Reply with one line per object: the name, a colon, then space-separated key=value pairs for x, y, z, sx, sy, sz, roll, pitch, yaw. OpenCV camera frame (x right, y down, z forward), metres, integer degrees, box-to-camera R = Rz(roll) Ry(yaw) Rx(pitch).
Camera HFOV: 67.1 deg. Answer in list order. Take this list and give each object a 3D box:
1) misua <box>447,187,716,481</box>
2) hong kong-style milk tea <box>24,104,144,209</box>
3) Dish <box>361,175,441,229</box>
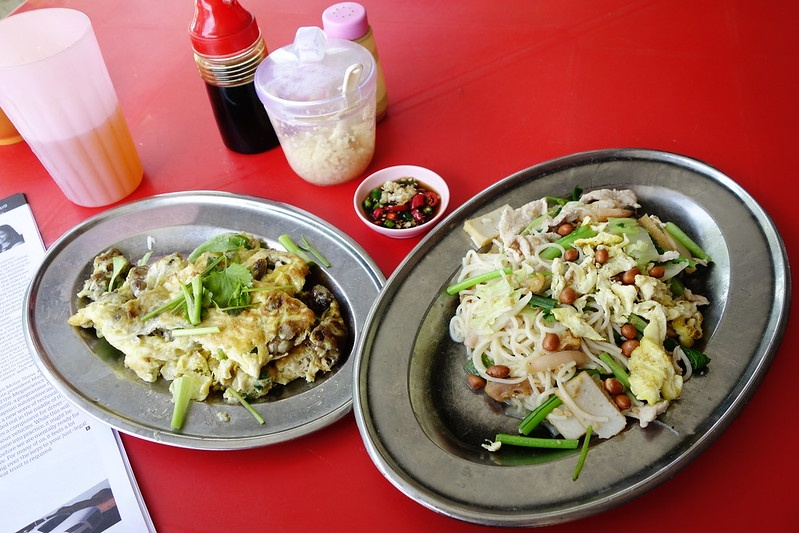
misua: x=0.833 y=0.288 z=2.756 sx=1.123 sy=0.199 sz=1.033 roll=-26 pitch=60 yaw=1
hong kong-style milk tea: x=-1.535 y=-0.516 z=3.189 sx=0.496 sy=0.546 sz=0.514 roll=-5 pitch=60 yaw=-2
Dish: x=0.043 y=-0.343 z=3.138 sx=0.295 sy=0.245 sz=0.391 roll=-21 pitch=36 yaw=-34
